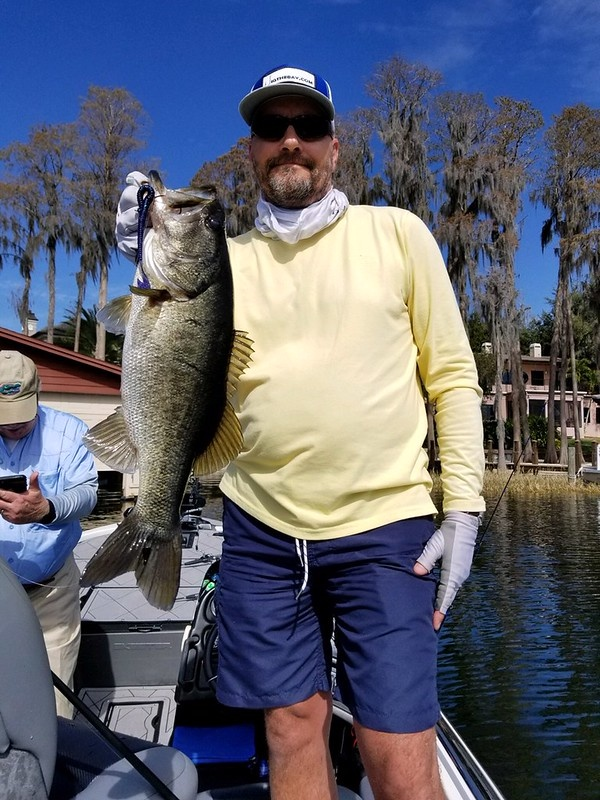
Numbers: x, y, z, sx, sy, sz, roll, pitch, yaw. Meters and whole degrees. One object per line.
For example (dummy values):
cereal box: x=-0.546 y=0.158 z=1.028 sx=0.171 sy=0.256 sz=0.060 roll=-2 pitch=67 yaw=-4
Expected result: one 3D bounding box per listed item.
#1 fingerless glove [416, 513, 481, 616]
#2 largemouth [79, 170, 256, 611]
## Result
fingerless glove: x=0.361 y=0.398 z=1.487 sx=0.130 sy=0.277 sz=0.243 roll=0 pitch=-1 yaw=20
largemouth: x=-0.345 y=-0.019 z=1.576 sx=0.329 sy=1.007 sz=0.337 roll=-4 pitch=-22 yaw=12
